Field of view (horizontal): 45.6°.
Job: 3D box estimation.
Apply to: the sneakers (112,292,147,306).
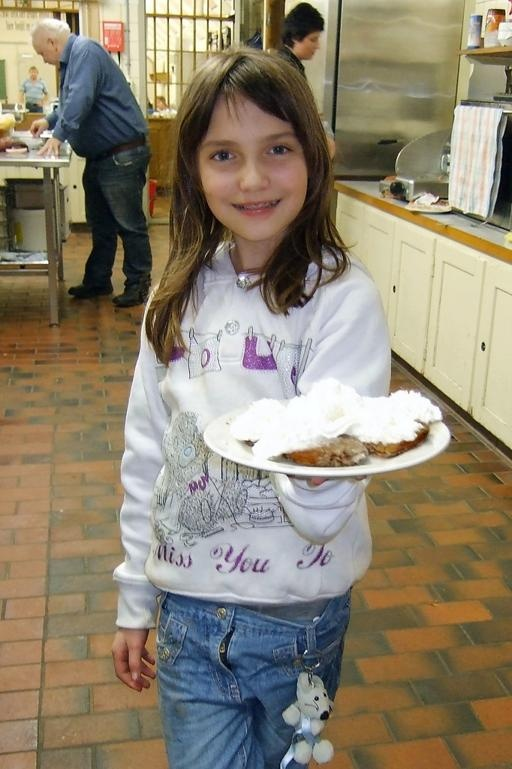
[{"bbox_3d":[-1.172,-0.799,5.761,0.151,0.161,0.379,2,6,36],"label":"sneakers"}]
